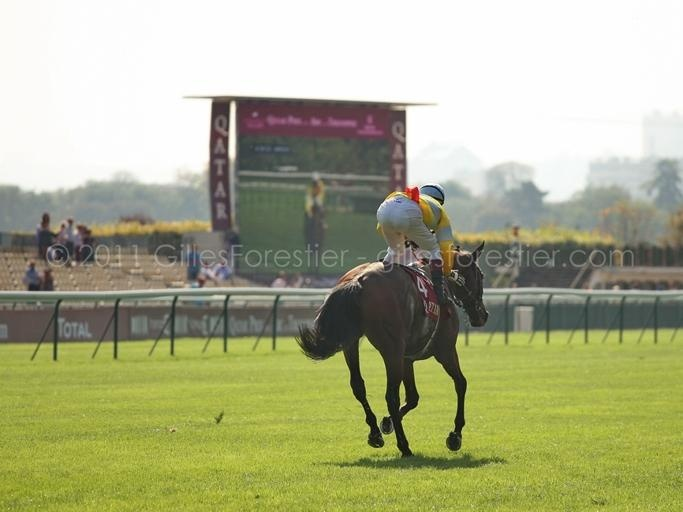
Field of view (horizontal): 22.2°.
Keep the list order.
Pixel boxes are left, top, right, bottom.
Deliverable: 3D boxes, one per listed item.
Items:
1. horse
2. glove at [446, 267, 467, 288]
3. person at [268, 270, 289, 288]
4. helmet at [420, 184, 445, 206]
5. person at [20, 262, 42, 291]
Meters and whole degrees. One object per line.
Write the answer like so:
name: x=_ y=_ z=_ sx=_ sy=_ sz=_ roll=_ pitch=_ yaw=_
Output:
horse: x=1.443 y=2.114 z=40.189 sx=1.663 sy=5.021 sz=6.848 roll=-2 pitch=-5 yaw=35
glove: x=2.612 y=0.565 z=40.048 sx=0.436 sy=0.169 sz=0.315 roll=48 pitch=20 yaw=23
person: x=-2.137 y=0.872 z=58.014 sx=0.560 sy=0.511 sz=1.197 roll=-1 pitch=12 yaw=-3
helmet: x=2.062 y=-1.394 z=40.226 sx=0.529 sy=0.494 sz=0.405 roll=-1 pitch=16 yaw=-6
person: x=-9.285 y=0.688 z=51.988 sx=0.536 sy=0.953 sz=1.653 roll=-3 pitch=12 yaw=-10
